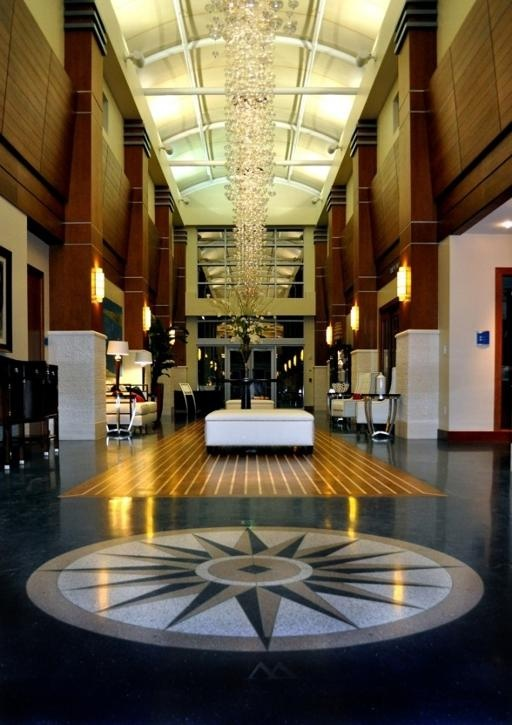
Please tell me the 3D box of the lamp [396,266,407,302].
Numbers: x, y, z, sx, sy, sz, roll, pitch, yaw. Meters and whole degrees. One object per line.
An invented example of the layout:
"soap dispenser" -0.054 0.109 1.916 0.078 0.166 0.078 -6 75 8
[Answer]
"lamp" 2.536 -1.376 8.642 0.128 0.604 0.308 0 -3 2

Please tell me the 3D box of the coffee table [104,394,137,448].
"coffee table" -2.706 1.006 9.863 0.694 0.932 0.734 0 -1 32

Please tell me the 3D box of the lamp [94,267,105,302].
"lamp" -2.631 -1.341 8.345 0.091 0.635 0.253 0 -3 -4

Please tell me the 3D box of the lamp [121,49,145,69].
"lamp" -2.429 -6.185 10.019 0.388 0.311 0.485 -9 38 -12

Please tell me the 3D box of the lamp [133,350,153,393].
"lamp" -2.588 0.029 11.057 0.445 1.234 0.455 0 0 45
